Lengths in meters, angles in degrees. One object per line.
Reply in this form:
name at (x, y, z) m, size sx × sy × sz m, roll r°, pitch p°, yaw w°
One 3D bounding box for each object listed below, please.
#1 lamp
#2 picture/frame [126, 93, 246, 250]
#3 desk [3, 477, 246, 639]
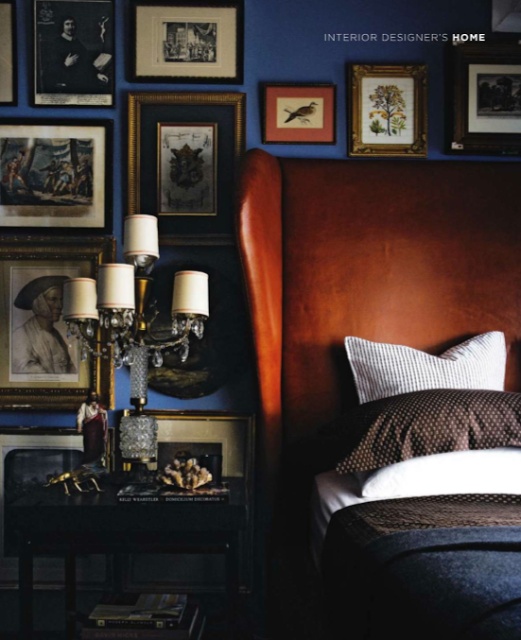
lamp at (-0.390, 0.077, 2.509) m, size 0.451 × 0.819 × 0.426 m, roll -2°, pitch 6°, yaw -8°
picture/frame at (-0.257, -0.493, 2.655) m, size 0.516 × 0.757 × 0.053 m, roll 0°, pitch -1°, yaw 0°
desk at (-0.382, 0.563, 2.068) m, size 0.490 × 0.407 × 0.412 m, roll -1°, pitch -9°, yaw 0°
